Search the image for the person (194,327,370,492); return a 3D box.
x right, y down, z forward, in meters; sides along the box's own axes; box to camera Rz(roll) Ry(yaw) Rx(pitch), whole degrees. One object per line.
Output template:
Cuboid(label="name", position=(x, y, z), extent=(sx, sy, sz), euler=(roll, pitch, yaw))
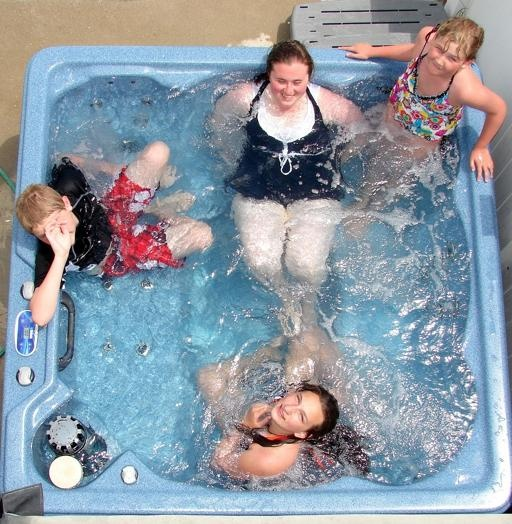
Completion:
Cuboid(label="person", position=(0.144, 0.615, 2.190), extent=(0.298, 0.829, 0.592), euler=(-43, 82, 16))
